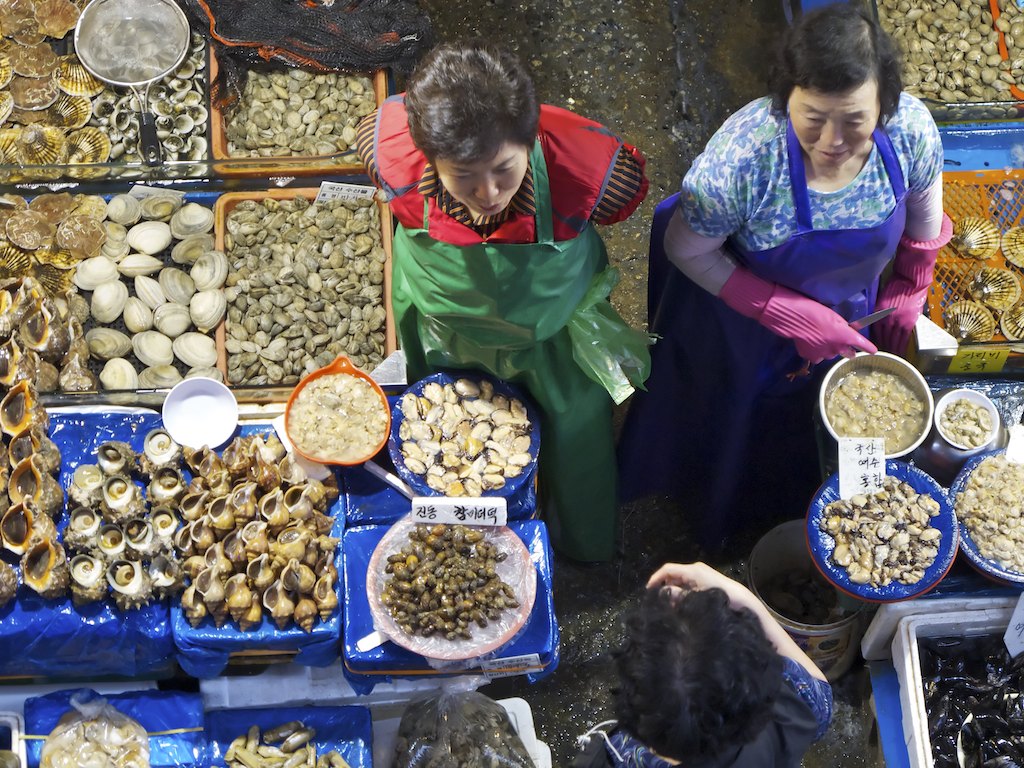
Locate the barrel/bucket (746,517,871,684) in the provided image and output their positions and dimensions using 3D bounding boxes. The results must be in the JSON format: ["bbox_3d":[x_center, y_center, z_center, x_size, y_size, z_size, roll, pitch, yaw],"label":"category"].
[{"bbox_3d":[1.098,0.812,3.831,0.504,0.584,0.537,-8,-20,-3],"label":"barrel/bucket"}]

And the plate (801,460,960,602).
[{"bbox_3d":[1.187,0.479,2.994,0.376,0.464,0.151,0,-8,6],"label":"plate"}]

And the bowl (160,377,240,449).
[{"bbox_3d":[-1.017,0.100,3.142,0.233,0.192,0.152,-10,26,-11],"label":"bowl"}]

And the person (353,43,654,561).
[{"bbox_3d":[0.037,-0.033,3.210,0.680,2.180,0.974,18,32,41],"label":"person"}]
